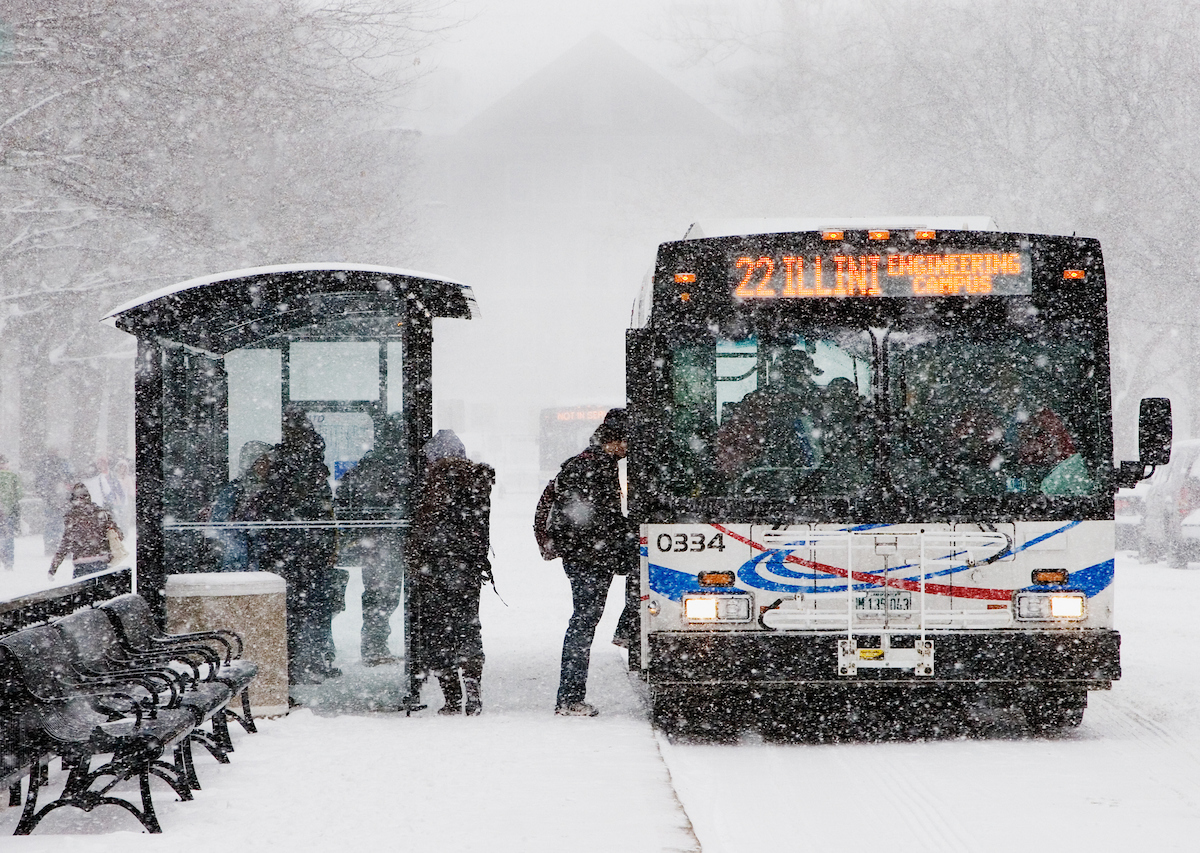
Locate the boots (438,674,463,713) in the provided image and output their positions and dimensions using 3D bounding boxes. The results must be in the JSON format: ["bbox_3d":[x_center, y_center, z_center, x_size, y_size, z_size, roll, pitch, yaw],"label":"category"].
[{"bbox_3d":[-1.409,2.515,18.334,0.212,0.378,0.406,0,6,-3],"label":"boots"}]

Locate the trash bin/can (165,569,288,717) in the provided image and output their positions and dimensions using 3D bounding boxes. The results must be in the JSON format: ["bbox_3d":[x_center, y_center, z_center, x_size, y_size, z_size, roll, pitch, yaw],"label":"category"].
[{"bbox_3d":[-3.370,2.015,18.019,1.223,1.389,1.231,-2,-4,15],"label":"trash bin/can"}]

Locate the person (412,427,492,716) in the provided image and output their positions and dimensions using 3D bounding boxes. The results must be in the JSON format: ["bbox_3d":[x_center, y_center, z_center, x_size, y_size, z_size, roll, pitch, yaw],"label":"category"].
[{"bbox_3d":[-1.410,1.487,18.357,0.763,2.391,0.540,0,6,-4],"label":"person"}]
